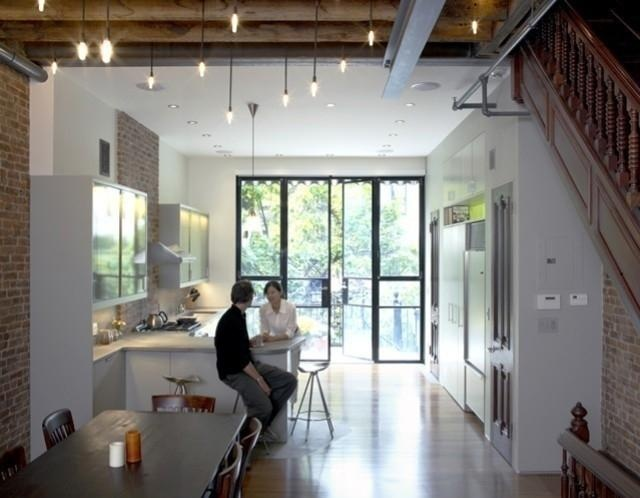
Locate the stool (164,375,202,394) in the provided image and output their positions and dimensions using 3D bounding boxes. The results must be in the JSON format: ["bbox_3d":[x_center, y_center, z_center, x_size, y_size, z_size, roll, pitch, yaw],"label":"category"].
[{"bbox_3d":[-1.352,1.292,4.987,0.280,0.193,0.257,7,-8,-42],"label":"stool"}]

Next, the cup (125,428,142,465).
[{"bbox_3d":[-1.168,1.200,3.133,0.097,0.182,0.284,0,2,-20],"label":"cup"}]

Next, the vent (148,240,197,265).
[{"bbox_3d":[-2.061,0.048,6.950,0.494,0.275,0.756,0,2,-9],"label":"vent"}]

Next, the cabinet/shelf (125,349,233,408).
[{"bbox_3d":[-1.346,1.269,4.927,0.624,0.652,0.220,0,1,3],"label":"cabinet/shelf"}]

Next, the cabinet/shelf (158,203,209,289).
[{"bbox_3d":[-2.076,-0.039,7.514,0.202,0.898,1.372,0,-2,4],"label":"cabinet/shelf"}]

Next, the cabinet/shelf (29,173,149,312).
[{"bbox_3d":[-2.294,-0.060,4.887,0.491,1.312,1.499,0,-2,1],"label":"cabinet/shelf"}]

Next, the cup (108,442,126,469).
[{"bbox_3d":[-1.219,1.241,3.001,0.079,0.139,0.136,-1,-3,7],"label":"cup"}]

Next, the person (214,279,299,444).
[{"bbox_3d":[-0.618,1.106,4.974,0.774,1.601,0.650,-1,9,-12],"label":"person"}]

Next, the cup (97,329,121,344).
[{"bbox_3d":[-2.296,0.956,5.449,0.106,0.143,0.186,-2,-7,36],"label":"cup"}]

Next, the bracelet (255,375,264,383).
[{"bbox_3d":[-0.580,1.241,4.795,0.046,0.072,0.069,1,14,9],"label":"bracelet"}]

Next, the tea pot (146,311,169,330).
[{"bbox_3d":[-2.172,0.962,6.687,0.154,0.172,0.233,-6,-11,37],"label":"tea pot"}]
